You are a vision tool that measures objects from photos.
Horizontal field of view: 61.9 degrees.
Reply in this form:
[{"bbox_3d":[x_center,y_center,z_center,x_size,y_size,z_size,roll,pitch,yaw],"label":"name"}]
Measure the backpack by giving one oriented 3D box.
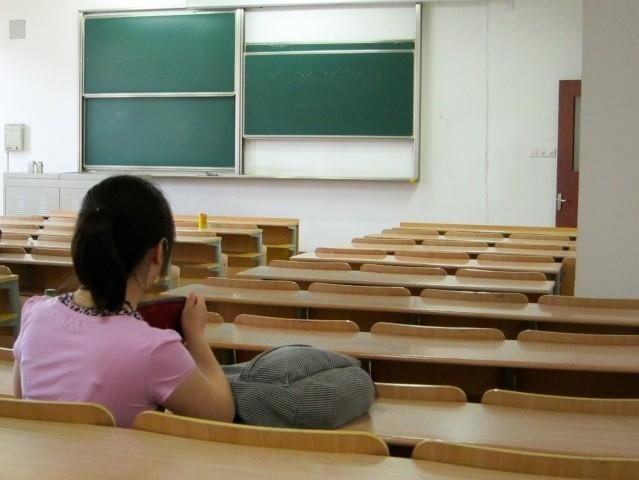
[{"bbox_3d":[-0.042,0.383,1.390,0.380,0.166,0.207,0,5,-13],"label":"backpack"}]
